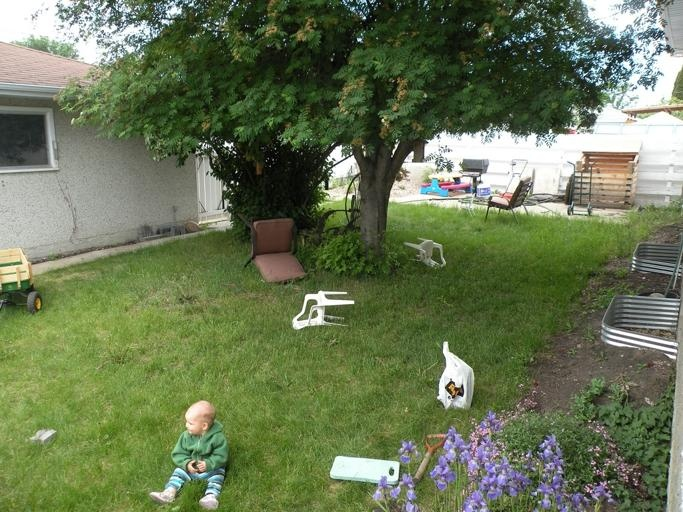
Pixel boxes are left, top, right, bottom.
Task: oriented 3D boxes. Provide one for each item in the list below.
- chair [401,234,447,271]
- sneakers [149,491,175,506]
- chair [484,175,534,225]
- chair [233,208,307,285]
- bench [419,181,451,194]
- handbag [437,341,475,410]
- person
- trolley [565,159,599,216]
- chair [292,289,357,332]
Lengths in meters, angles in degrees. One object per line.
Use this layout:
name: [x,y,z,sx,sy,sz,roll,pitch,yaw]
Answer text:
chair: [1.690,-0.076,10.591,0.481,0.400,0.761,-11,16,-36]
sneakers: [-1.644,2.232,4.926,0.084,0.119,0.185,-12,-7,29]
chair: [4.379,-1.477,14.150,0.814,0.894,0.719,0,9,26]
chair: [-1.197,-0.072,9.774,0.894,1.036,1.456,-3,25,-19]
bench: [3.398,-2.533,19.678,1.091,0.523,0.676,9,15,29]
handbag: [1.274,1.326,5.970,0.384,0.730,0.273,1,-10,18]
person: [-1.365,1.849,5.273,0.631,0.910,0.847,7,12,9]
trolley: [7.105,-2.037,16.002,0.546,1.632,0.747,-9,12,-43]
chair: [-0.344,0.775,7.909,0.751,0.434,0.538,0,13,-5]
